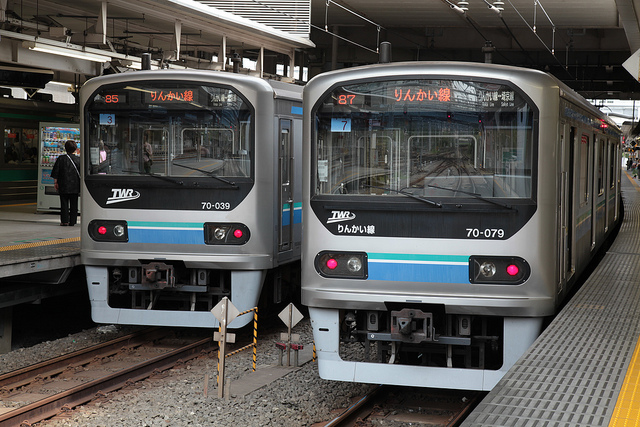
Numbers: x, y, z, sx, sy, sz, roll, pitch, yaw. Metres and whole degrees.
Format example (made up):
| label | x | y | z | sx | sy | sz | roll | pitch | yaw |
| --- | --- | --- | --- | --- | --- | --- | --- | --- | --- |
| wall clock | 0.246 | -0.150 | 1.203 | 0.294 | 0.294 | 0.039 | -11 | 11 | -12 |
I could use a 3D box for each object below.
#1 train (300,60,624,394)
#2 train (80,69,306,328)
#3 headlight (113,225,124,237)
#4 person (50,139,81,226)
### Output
| label | x | y | z | sx | sy | sz | roll | pitch | yaw |
| --- | --- | --- | --- | --- | --- | --- | --- | --- | --- |
| train | 3.449 | -0.291 | 9.794 | 3.051 | 3.935 | 9.661 | 2 | 6 | 30 |
| train | -2.253 | -0.236 | 8.597 | 3.394 | 4.244 | 1.167 | 0 | 2 | 7 |
| headlight | -3.334 | 0.287 | 8.296 | 0.134 | 0.188 | 0.066 | 1 | -1 | 4 |
| person | -6.538 | -0.790 | 12.804 | 0.630 | 2.268 | 1.301 | -1 | 2 | -29 |
